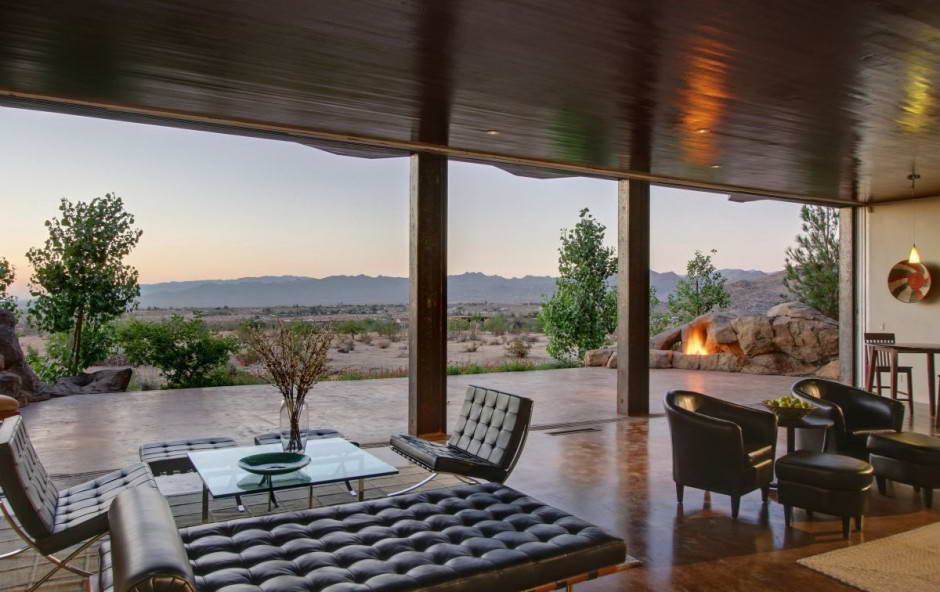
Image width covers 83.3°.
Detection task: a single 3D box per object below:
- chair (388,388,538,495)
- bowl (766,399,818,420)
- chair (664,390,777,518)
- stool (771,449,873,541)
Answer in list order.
[{"bbox_3d":[-0.009,1.272,4.982,1.339,0.844,1.106,1,-3,-24],"label":"chair"},{"bbox_3d":[3.169,1.070,5.201,0.308,0.070,0.259,-1,0,-13],"label":"bowl"},{"bbox_3d":[2.386,1.425,5.401,1.173,1.046,1.213,-5,-7,43],"label":"chair"},{"bbox_3d":[3.052,1.658,4.737,0.810,0.549,0.604,-3,5,-34],"label":"stool"}]
